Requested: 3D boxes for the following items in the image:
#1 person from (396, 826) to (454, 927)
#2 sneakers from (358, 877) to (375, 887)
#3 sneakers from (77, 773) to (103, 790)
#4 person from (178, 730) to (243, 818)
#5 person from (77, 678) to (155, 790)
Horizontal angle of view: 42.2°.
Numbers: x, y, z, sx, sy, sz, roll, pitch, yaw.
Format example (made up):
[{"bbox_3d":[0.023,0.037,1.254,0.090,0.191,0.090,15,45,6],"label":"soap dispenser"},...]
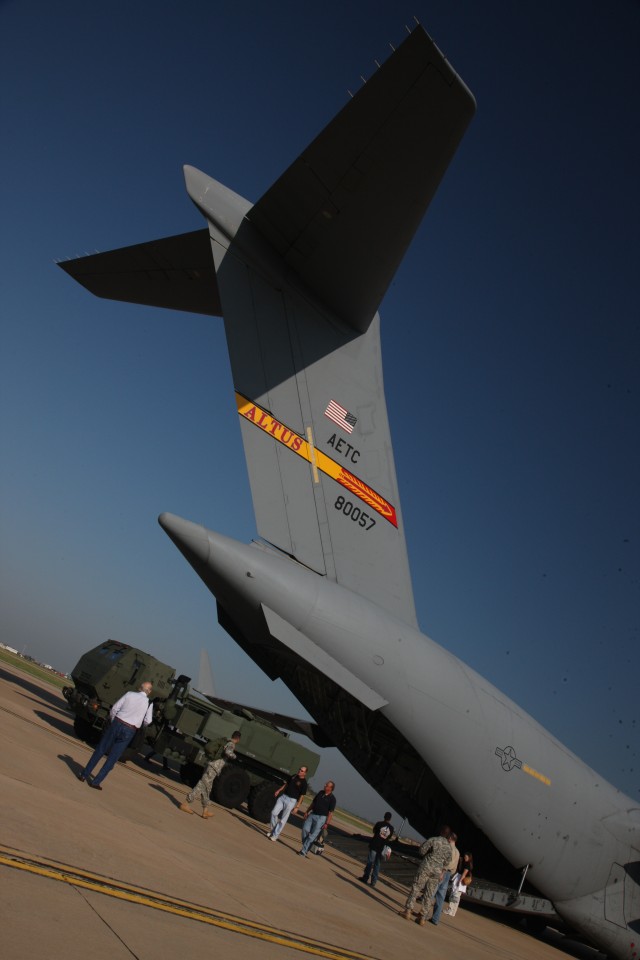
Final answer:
[{"bbox_3d":[1.307,4.661,9.781,0.413,1.092,0.252,20,8,15],"label":"person"},{"bbox_3d":[0.617,5.296,10.865,0.146,0.052,0.146,-1,-37,46],"label":"sneakers"},{"bbox_3d":[-2.528,3.315,9.088,0.276,0.118,0.104,49,-37,-12],"label":"sneakers"},{"bbox_3d":[-1.498,4.039,11.032,0.804,1.141,0.351,29,1,-11],"label":"person"},{"bbox_3d":[-2.320,2.903,9.486,0.437,0.802,0.949,32,-21,-3],"label":"person"}]
